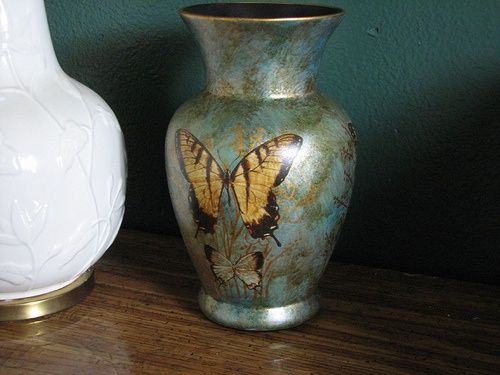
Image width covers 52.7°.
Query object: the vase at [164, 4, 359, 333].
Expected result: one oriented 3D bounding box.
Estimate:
[{"bbox_3d":[0.065,-0.045,0.920,0.363,0.539,0.292,5,20,13],"label":"vase"}]
